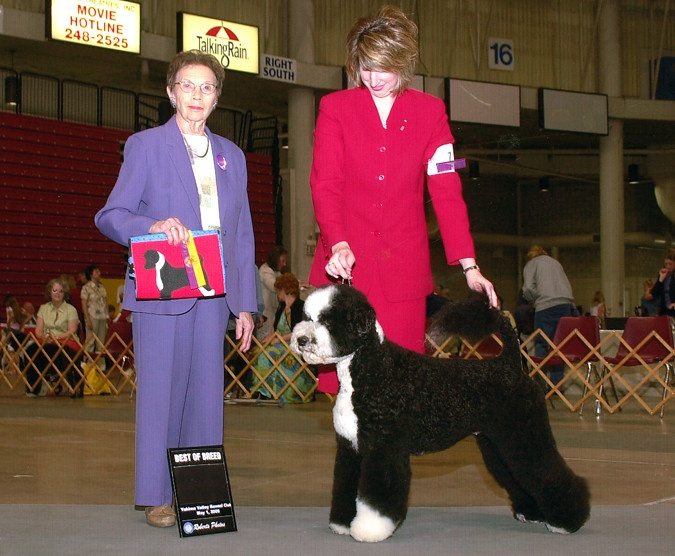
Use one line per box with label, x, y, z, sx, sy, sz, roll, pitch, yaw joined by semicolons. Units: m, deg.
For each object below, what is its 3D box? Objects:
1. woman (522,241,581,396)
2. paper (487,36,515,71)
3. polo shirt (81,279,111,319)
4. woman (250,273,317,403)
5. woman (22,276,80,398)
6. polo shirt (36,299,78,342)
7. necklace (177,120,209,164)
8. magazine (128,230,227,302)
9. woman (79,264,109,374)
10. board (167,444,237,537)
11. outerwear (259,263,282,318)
woman;2.353;0.389;10.943;0.468;1.554;0.484;0;-14;-7
paper;3.454;-4.769;20.940;0.653;0.735;0.067;-5;7;-34
polo shirt;-3.157;0.284;12.916;0.263;0.594;0.490;-6;-5;25
woman;-0.439;0.507;10.665;0.893;1.538;0.650;-12;38;-14
woman;-3.382;0.717;11.775;0.635;1.393;0.739;2;-5;-30
polo shirt;-3.330;0.506;11.770;0.400;0.452;0.240;6;7;-13
necklace;-0.713;-0.707;5.078;0.148;0.165;0.035;-7;-5;-34
magazine;-0.786;-0.103;4.960;0.466;0.374;0.199;-4;44;-6
woman;-3.055;0.463;12.735;0.310;1.240;0.351;16;23;38
board;-0.692;1.081;4.980;0.385;0.596;0.036;0;-19;-28
outerwear;-0.713;0.153;11.582;0.213;0.770;0.309;1;20;11
